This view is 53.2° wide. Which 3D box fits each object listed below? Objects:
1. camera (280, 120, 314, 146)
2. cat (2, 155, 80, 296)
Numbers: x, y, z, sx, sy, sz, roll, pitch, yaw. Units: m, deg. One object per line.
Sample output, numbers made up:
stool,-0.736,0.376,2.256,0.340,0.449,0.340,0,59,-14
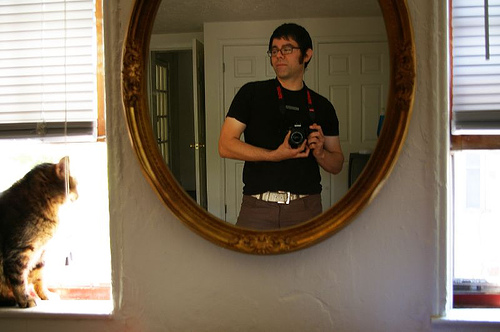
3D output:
camera,0.193,-0.134,2.027,0.106,0.110,0.078,0,13,20
cat,-0.933,0.266,2.218,0.324,0.625,0.091,1,2,-19
